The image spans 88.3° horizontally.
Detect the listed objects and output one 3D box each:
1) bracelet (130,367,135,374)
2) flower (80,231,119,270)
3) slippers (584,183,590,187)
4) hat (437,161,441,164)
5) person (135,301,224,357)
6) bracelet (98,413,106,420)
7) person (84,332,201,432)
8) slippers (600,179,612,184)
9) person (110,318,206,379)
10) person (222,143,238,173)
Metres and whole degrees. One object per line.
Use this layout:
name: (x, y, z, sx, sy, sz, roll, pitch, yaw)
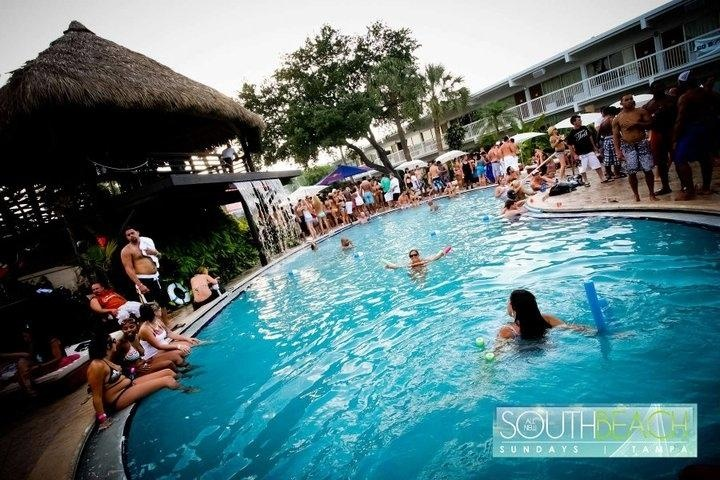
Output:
bracelet: (-4.283, 2.367, 6.771, 0.084, 0.083, 0.083, 0, 3, -12)
flower: (-8.262, 0.369, 11.272, 1.102, 1.185, 1.039, -5, -6, 5)
slippers: (7.533, -1.759, 11.922, 0.101, 0.103, 0.291, -11, -1, 26)
hat: (4.953, -4.723, 22.733, 0.280, 0.112, 0.317, -2, 2, -1)
person: (-3.936, 2.079, 7.603, 1.235, 1.581, 0.741, 3, 6, -21)
bracelet: (-4.218, 2.791, 5.893, 0.103, 0.094, 0.100, 17, -48, -25)
person: (-3.990, 2.359, 6.695, 0.775, 1.175, 1.844, -5, -10, 38)
slippers: (7.996, -1.826, 11.666, 0.346, 0.137, 0.132, 1, 4, 30)
person: (-4.089, 2.166, 7.487, 1.284, 1.711, 0.881, -4, 10, -16)
person: (-5.612, -3.321, 15.533, 0.684, 0.957, 1.932, -18, 9, -15)
